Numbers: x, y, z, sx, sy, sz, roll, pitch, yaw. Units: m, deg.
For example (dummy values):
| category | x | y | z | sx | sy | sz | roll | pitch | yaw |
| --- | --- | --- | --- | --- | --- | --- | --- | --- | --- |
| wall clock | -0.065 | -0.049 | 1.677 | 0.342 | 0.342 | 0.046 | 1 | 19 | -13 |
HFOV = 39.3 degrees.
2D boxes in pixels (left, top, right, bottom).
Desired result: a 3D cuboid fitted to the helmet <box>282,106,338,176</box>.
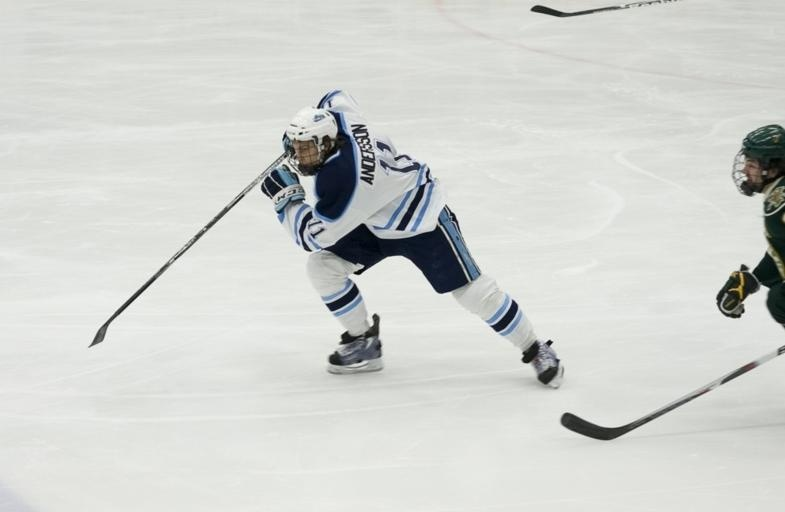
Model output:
| category | x | y | z | sx | sy | sz | roll | pitch | yaw |
| --- | --- | --- | --- | --- | --- | --- | --- | --- | --- |
| helmet | -0.450 | -0.634 | 6.114 | 0.314 | 0.374 | 0.195 | -9 | 20 | -7 |

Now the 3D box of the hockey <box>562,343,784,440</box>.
| category | x | y | z | sx | sy | sz | roll | pitch | yaw |
| --- | --- | --- | --- | --- | --- | --- | --- | --- | --- |
| hockey | 1.542 | 0.763 | 6.035 | 1.186 | 0.077 | 0.137 | -19 | 56 | -4 |

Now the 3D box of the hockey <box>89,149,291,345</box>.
| category | x | y | z | sx | sy | sz | roll | pitch | yaw |
| --- | --- | --- | --- | --- | --- | --- | --- | --- | --- |
| hockey | -1.353 | -0.016 | 7.304 | 2.348 | 0.239 | 0.055 | -31 | 42 | -6 |
